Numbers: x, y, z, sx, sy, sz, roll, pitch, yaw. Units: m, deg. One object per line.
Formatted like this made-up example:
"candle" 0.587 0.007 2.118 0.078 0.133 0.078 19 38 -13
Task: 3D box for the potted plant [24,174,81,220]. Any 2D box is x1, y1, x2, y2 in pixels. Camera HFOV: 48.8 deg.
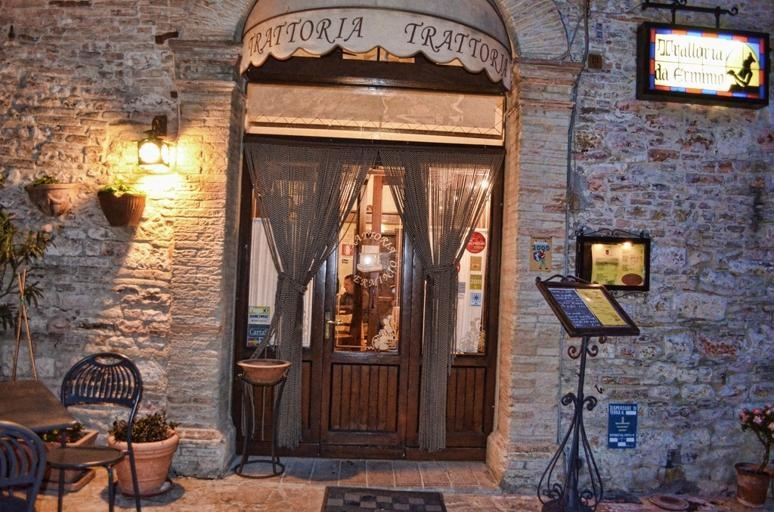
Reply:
"potted plant" -3.157 -0.565 8.073 0.427 0.303 0.419 -1 6 -31

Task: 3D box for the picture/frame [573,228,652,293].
"picture/frame" 2.139 0.068 8.174 0.647 0.535 0.057 1 5 -2

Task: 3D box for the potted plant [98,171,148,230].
"potted plant" -2.491 -0.521 8.060 0.442 0.453 0.464 1 0 23

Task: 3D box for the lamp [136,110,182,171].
"lamp" -2.175 -1.079 8.127 0.368 0.570 0.252 2 -4 -12
